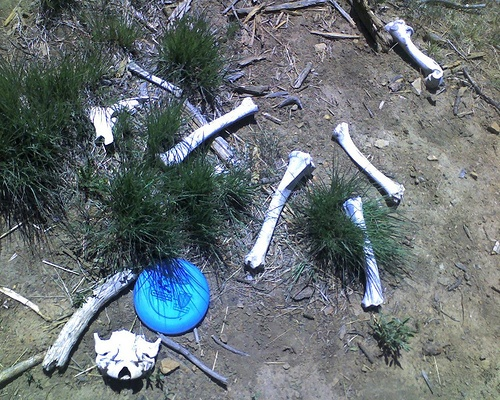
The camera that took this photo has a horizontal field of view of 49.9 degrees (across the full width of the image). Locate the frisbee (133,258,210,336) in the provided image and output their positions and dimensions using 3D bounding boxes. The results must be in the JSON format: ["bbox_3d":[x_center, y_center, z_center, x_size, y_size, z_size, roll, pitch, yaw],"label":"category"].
[{"bbox_3d":[-0.660,0.803,4.436,0.602,0.118,0.567,-11,77,-7],"label":"frisbee"}]
